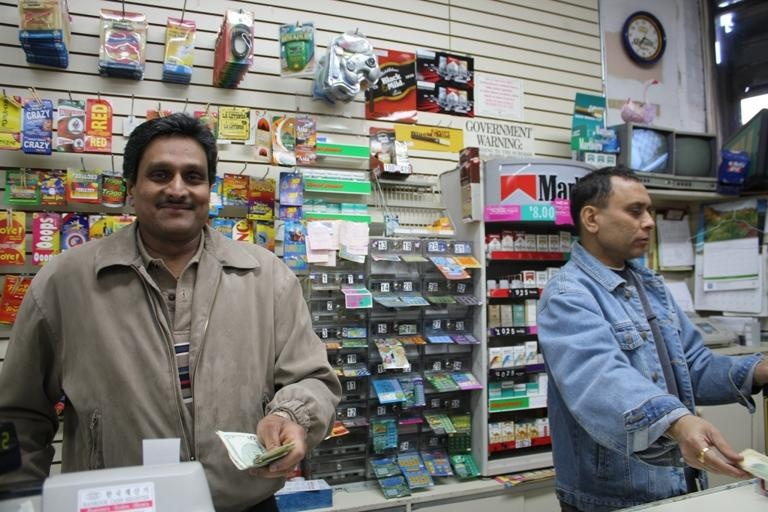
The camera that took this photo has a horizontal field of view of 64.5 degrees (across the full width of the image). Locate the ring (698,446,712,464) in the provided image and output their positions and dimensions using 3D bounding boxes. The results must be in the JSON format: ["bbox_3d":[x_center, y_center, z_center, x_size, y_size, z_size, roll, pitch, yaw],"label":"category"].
[{"bbox_3d":[1.409,0.876,2.670,0.014,0.057,0.057,-1,-6,14],"label":"ring"}]

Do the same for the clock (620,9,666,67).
[{"bbox_3d":[2.533,-2.133,5.985,0.499,0.497,0.058,17,-8,-22],"label":"clock"}]
